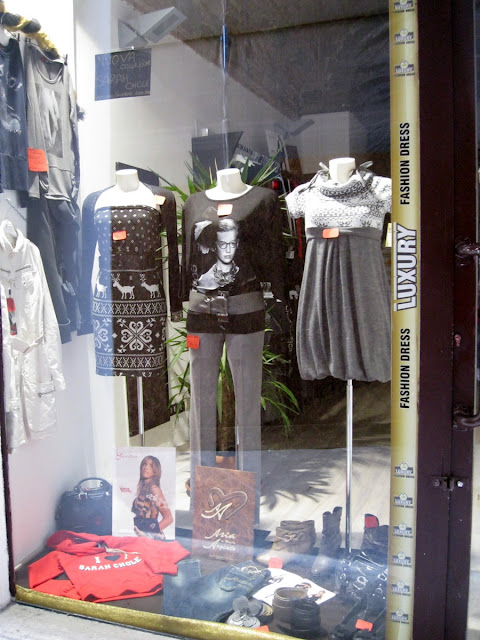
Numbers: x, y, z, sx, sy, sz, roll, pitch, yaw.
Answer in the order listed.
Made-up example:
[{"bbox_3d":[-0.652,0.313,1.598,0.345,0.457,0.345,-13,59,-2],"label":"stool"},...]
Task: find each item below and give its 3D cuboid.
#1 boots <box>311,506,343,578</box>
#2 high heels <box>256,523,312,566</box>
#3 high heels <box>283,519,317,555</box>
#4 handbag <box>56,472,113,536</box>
[{"bbox_3d":[0.254,0.666,1.786,0.073,0.149,0.222,-1,3,26],"label":"boots"},{"bbox_3d":[0.120,0.692,1.883,0.081,0.100,0.233,5,-10,-36],"label":"high heels"},{"bbox_3d":[0.181,0.655,1.798,0.116,0.075,0.068,9,-9,-12],"label":"high heels"},{"bbox_3d":[-0.548,0.656,2.100,0.235,0.214,0.092,0,-7,6],"label":"handbag"}]
